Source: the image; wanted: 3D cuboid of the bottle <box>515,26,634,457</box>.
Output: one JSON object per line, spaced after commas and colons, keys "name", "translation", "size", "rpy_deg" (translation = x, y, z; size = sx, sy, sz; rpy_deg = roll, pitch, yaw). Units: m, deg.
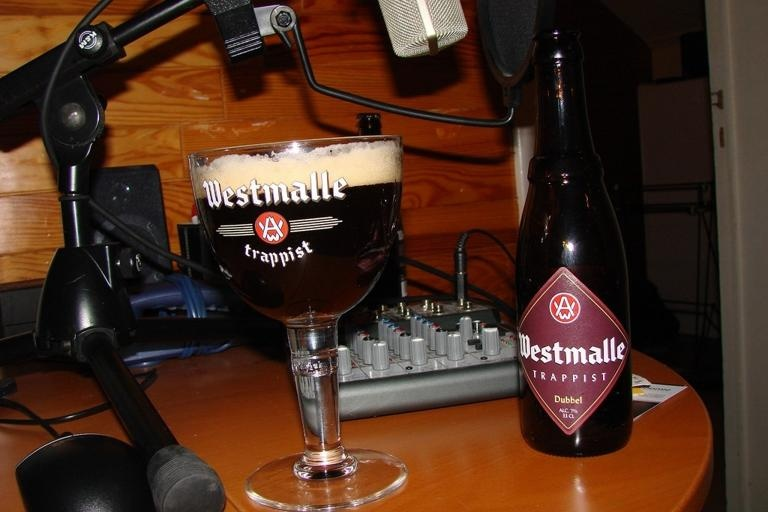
{"name": "bottle", "translation": [0.175, -0.012, 0.616], "size": [0.117, 0.420, 0.088], "rpy_deg": [-6, 9, 19]}
